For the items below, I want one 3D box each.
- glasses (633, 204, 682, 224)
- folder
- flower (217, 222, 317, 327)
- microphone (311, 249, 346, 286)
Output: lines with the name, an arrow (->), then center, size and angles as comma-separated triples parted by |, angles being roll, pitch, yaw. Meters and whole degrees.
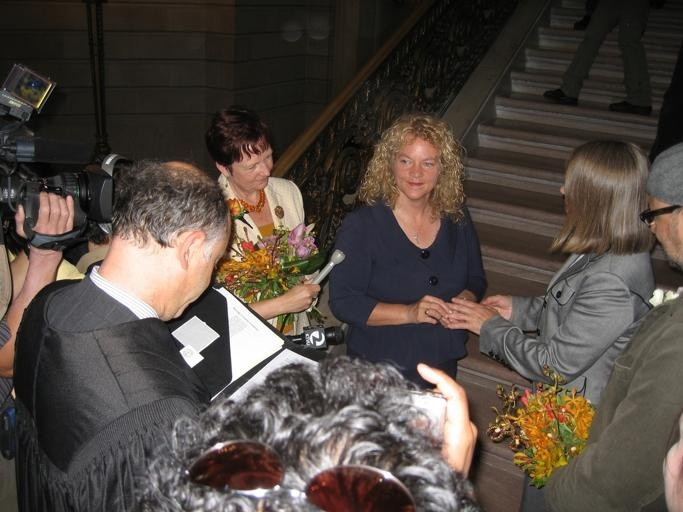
glasses -> 1.118, -0.147, 1.806 | 0.073, 0.077, 0.201 | 8, 9, 13
folder -> -0.358, 0.258, 1.730 | 0.412, 0.113, 0.344 | 47, 51, 10
flower -> -0.397, -0.003, 2.708 | 0.472, 0.363, 0.498 | 13, 20, -13
microphone -> -0.061, 0.061, 2.623 | 0.052, 0.052, 0.255 | 48, 39, -4
